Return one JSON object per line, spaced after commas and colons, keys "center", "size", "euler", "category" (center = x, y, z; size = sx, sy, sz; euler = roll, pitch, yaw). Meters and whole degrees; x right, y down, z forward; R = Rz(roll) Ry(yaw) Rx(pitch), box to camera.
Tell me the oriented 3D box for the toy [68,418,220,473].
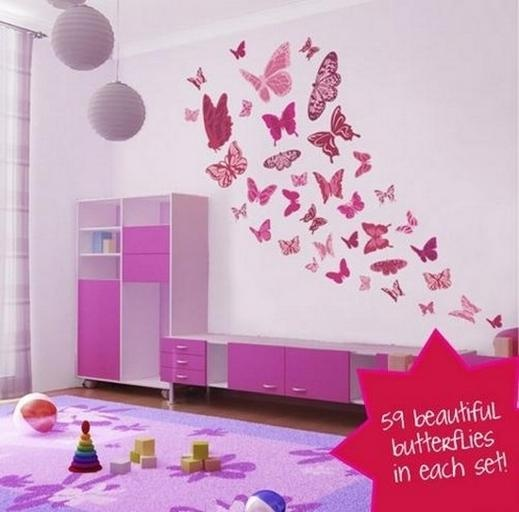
{"center": [-0.611, 0.999, 2.712], "size": [0.812, 0.284, 0.242], "euler": [0, -5, -4], "category": "toy"}
